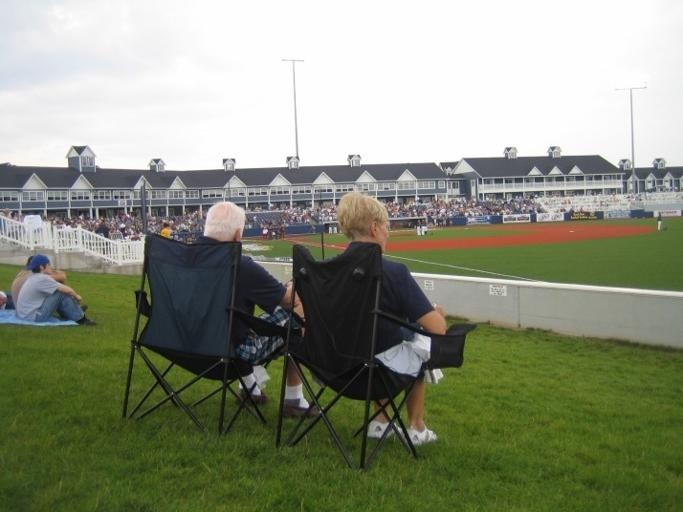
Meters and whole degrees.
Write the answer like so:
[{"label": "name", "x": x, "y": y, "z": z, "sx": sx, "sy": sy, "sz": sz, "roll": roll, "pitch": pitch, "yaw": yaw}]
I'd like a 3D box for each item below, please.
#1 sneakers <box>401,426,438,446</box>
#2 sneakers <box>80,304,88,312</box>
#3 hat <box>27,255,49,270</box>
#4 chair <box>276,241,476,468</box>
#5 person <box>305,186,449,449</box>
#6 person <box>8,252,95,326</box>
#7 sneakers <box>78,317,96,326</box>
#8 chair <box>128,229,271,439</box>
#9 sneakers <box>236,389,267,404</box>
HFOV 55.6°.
[{"label": "sneakers", "x": 0.705, "y": 1.587, "z": 5.780, "sx": 0.292, "sy": 0.156, "sz": 0.120, "roll": -3, "pitch": 2, "yaw": -38}, {"label": "sneakers", "x": -3.869, "y": 0.783, "z": 9.700, "sx": 0.106, "sy": 0.128, "sz": 0.042, "roll": 7, "pitch": 33, "yaw": 12}, {"label": "hat", "x": -4.270, "y": 0.044, "z": 9.118, "sx": 0.181, "sy": 0.194, "sz": 0.301, "roll": -1, "pitch": 14, "yaw": 5}, {"label": "chair", "x": 0.283, "y": 0.907, "z": 5.858, "sx": 1.349, "sy": 1.849, "sz": 1.443, "roll": 4, "pitch": -1, "yaw": 22}, {"label": "person", "x": 0.472, "y": 0.639, "z": 6.034, "sx": 1.043, "sy": 2.419, "sz": 1.131, "roll": 4, "pitch": 6, "yaw": 39}, {"label": "person", "x": -4.285, "y": 0.452, "z": 9.248, "sx": 0.710, "sy": 1.185, "sz": 1.154, "roll": 4, "pitch": 3, "yaw": 45}, {"label": "sneakers", "x": -3.632, "y": 0.928, "z": 9.208, "sx": 0.222, "sy": 0.116, "sz": 0.091, "roll": 3, "pitch": 4, "yaw": -8}, {"label": "chair", "x": -1.328, "y": 0.781, "z": 6.354, "sx": 1.084, "sy": 1.889, "sz": 1.070, "roll": 7, "pitch": 0, "yaw": 15}, {"label": "sneakers", "x": -0.918, "y": 1.451, "z": 6.581, "sx": 0.294, "sy": 0.152, "sz": 0.167, "roll": 4, "pitch": 1, "yaw": -3}]
